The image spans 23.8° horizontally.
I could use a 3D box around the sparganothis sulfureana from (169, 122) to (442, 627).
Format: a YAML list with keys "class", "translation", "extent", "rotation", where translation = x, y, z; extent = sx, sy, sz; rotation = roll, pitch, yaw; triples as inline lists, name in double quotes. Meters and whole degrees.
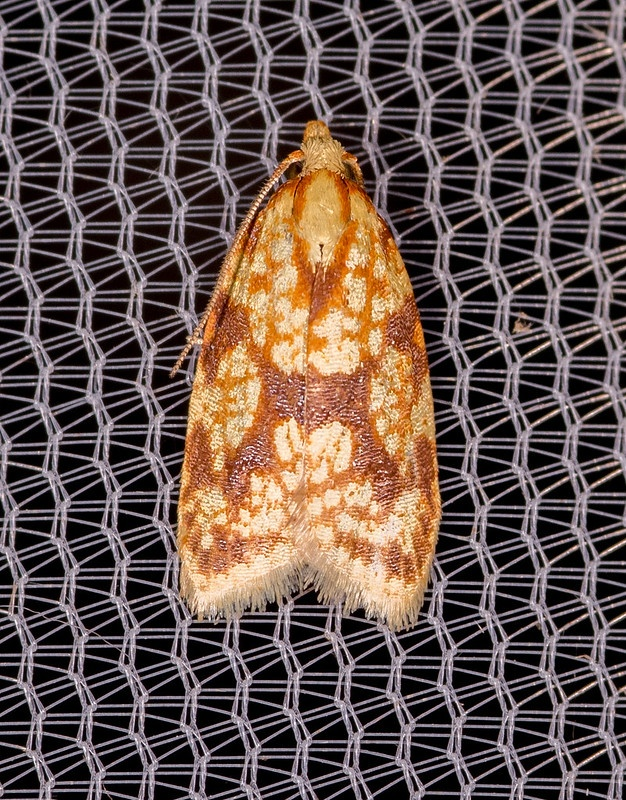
- class: "sparganothis sulfureana"
  translation: [-0.010, 0.032, 1.993]
  extent: [0.290, 0.147, 0.735]
  rotation: [2, 90, 1]
